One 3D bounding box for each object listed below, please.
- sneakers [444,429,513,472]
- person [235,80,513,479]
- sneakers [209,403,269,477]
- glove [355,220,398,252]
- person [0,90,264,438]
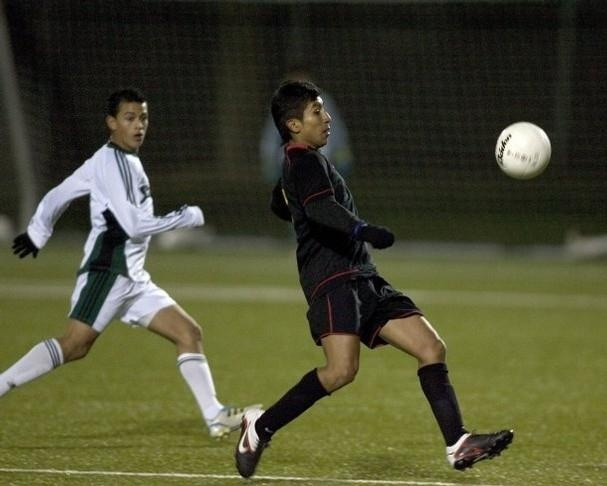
[{"bbox_3d":[1.066,1.240,5.164,0.161,0.446,0.207,34,37,-32],"label":"sneakers"},{"bbox_3d":[0.342,0.225,5.429,1.459,2.497,0.841,1,11,9],"label":"person"},{"bbox_3d":[-0.416,1.247,5.610,0.295,0.551,0.207,10,-20,31],"label":"sneakers"},{"bbox_3d":[0.428,-0.034,5.122,0.232,0.085,0.132,21,57,15],"label":"glove"},{"bbox_3d":[-1.281,0.118,5.766,1.555,2.297,0.824,-1,11,-4],"label":"person"}]
